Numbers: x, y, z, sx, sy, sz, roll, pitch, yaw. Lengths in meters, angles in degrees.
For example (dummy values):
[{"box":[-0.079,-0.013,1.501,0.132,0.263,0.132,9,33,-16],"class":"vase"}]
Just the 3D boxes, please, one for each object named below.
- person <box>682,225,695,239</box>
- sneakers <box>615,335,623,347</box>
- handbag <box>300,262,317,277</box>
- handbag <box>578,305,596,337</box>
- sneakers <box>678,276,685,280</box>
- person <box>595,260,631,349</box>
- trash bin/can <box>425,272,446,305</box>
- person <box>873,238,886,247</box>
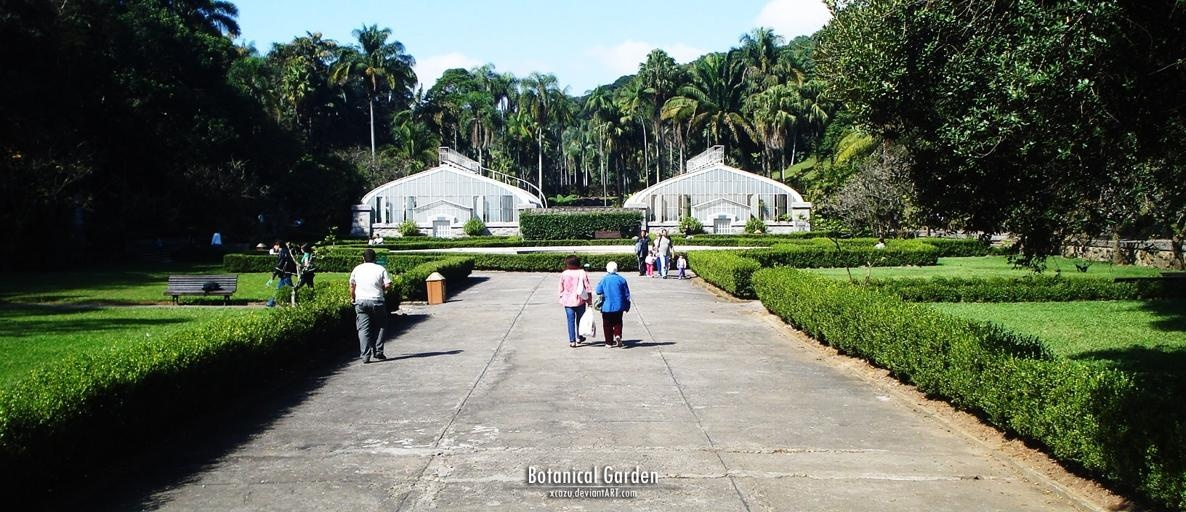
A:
[{"box":[8.968,-2.494,71.155,1.198,0.873,0.782,0,3,5],"class":"person"},{"box":[1.030,3.356,29.612,0.202,0.499,0.247,-14,19,-10],"class":"sneakers"},{"box":[-13.933,0.663,37.046,0.826,0.896,0.558,2,13,-20],"class":"handbag"},{"box":[-0.249,2.583,29.564,0.577,1.149,0.580,1,3,6],"class":"handbag"},{"box":[5.338,1.325,45.192,0.134,0.251,0.409,8,15,40],"class":"sneakers"},{"box":[0.785,1.913,29.880,1.207,3.310,1.286,0,3,-1],"class":"person"},{"box":[-7.580,1.599,36.566,0.873,1.469,0.858,0,3,-12],"class":"trash bin/can"},{"box":[19.628,-0.835,51.789,0.984,0.352,1.056,-3,3,18],"class":"person"}]
